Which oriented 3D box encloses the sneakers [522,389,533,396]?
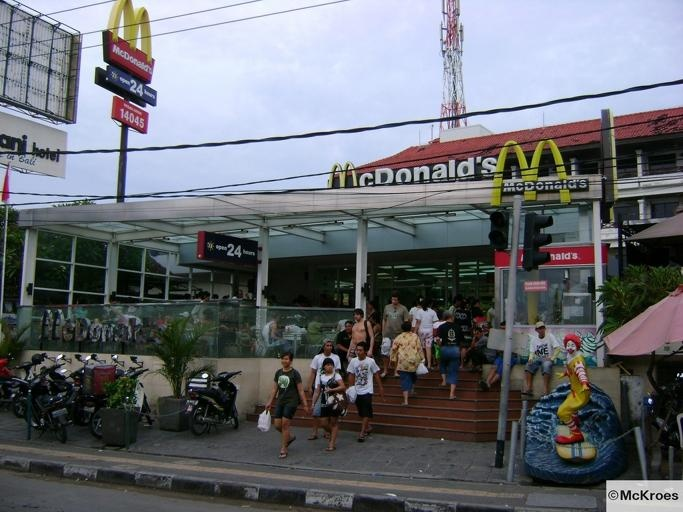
[{"bbox_3d":[4.700,3.471,15.976,0.256,0.117,0.112,1,-6,31],"label":"sneakers"}]

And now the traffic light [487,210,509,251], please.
[{"bbox_3d":[3.168,-0.541,12.727,0.354,0.682,1.178,-1,0,12],"label":"traffic light"}]

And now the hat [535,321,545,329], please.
[{"bbox_3d":[4.928,1.724,15.819,0.214,0.123,0.317,-2,-5,-6],"label":"hat"}]

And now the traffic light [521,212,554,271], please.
[{"bbox_3d":[3.810,-0.292,12.313,0.561,0.894,0.729,-1,0,18],"label":"traffic light"}]

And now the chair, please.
[{"bbox_3d":[-2.014,2.390,18.567,3.385,1.043,1.121,3,-7,-27],"label":"chair"}]

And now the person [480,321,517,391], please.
[{"bbox_3d":[4.026,2.924,16.201,0.841,1.203,1.330,-1,0,15],"label":"person"}]

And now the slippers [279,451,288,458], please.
[{"bbox_3d":[-1.237,4.229,13.463,0.169,0.142,0.244,-1,0,-4],"label":"slippers"}]

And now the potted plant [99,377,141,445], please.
[{"bbox_3d":[-5.101,3.590,14.554,0.840,1.650,0.499,-1,0,23],"label":"potted plant"}]

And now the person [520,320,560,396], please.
[{"bbox_3d":[5.003,2.591,15.880,0.852,1.525,0.517,-1,0,25],"label":"person"}]

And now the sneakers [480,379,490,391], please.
[{"bbox_3d":[3.618,3.284,15.996,0.127,0.402,0.272,-7,-5,14],"label":"sneakers"}]
